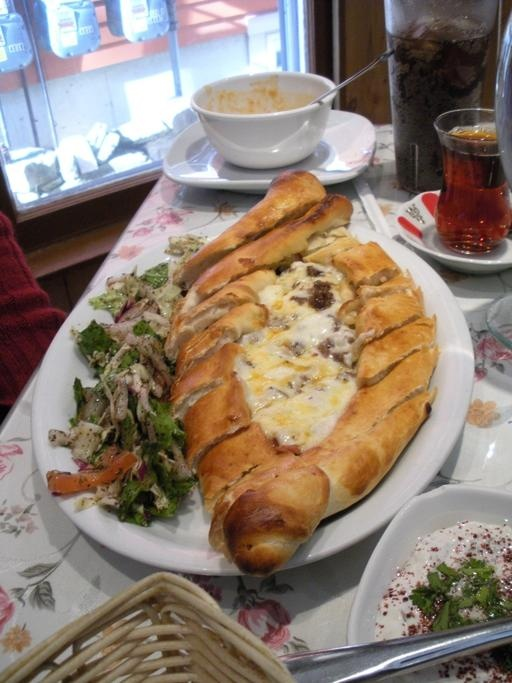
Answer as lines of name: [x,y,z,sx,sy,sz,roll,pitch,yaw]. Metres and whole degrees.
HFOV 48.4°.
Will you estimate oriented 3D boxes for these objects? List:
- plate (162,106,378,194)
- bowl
plate: [0.025,-0.400,1.272,0.365,0.067,0.323,-6,34,3]
bowl: [0.033,-0.486,1.256,0.317,0.131,0.285,-16,43,-9]
